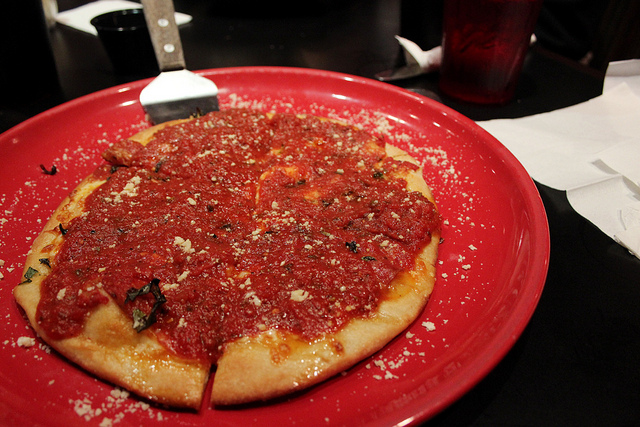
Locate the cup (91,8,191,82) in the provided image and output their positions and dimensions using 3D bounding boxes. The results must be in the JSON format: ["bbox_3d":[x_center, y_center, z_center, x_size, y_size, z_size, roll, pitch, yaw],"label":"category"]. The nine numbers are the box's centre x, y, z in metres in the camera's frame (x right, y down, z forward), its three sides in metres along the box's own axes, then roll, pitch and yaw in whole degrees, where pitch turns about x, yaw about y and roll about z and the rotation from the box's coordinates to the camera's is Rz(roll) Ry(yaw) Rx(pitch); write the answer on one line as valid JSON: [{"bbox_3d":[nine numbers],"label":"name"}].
[{"bbox_3d":[-1.079,-1.030,3.313,0.484,0.400,0.586,-4,39,-5],"label":"cup"}]

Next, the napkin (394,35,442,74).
[{"bbox_3d":[0.582,-0.886,3.048,0.224,0.075,0.229,29,25,21],"label":"napkin"}]
